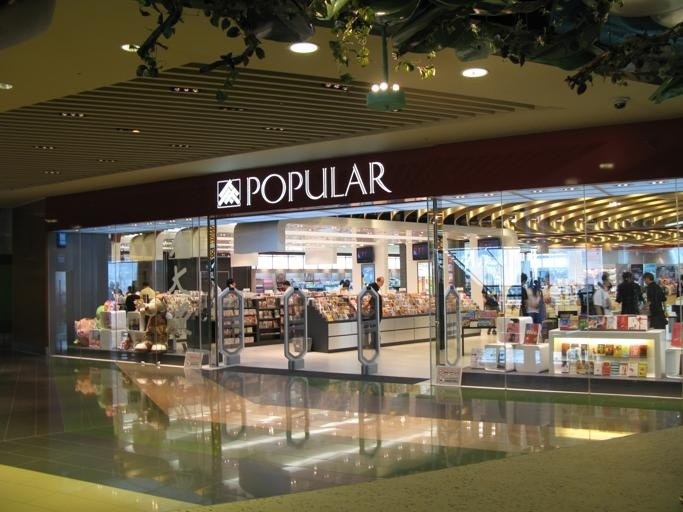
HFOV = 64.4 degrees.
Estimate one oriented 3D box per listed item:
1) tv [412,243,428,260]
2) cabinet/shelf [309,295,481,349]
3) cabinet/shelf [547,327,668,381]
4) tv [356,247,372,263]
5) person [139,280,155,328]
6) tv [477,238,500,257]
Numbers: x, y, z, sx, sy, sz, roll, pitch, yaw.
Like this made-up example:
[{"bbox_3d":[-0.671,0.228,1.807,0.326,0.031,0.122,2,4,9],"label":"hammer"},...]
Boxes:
[{"bbox_3d":[3.002,-0.189,20.791,0.090,0.445,0.647,5,-6,-24],"label":"tv"},{"bbox_3d":[1.251,1.596,14.456,4.751,1.429,0.767,1,9,-34],"label":"cabinet/shelf"},{"bbox_3d":[3.962,1.476,8.267,1.698,0.722,0.531,1,-2,-4],"label":"cabinet/shelf"},{"bbox_3d":[0.998,-0.065,23.300,0.133,0.702,0.941,1,-4,-41],"label":"tv"},{"bbox_3d":[-4.349,1.050,12.099,0.466,0.968,0.115,-4,-4,40],"label":"person"},{"bbox_3d":[2.396,-0.154,8.802,0.307,0.255,0.041,2,3,31],"label":"tv"}]
